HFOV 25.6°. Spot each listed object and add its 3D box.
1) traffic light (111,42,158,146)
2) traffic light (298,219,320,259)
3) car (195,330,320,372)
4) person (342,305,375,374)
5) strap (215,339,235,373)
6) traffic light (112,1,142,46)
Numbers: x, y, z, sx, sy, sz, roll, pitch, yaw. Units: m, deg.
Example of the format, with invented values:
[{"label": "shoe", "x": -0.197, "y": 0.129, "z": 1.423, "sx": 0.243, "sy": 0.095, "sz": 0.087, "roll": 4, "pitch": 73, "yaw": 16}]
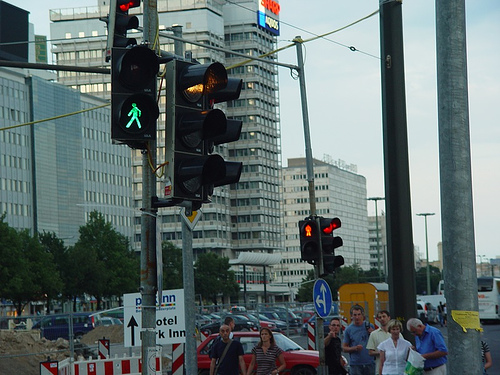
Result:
[{"label": "traffic light", "x": -2.820, "y": -2.297, "z": 26.932, "sx": 1.127, "sy": 2.302, "sz": 0.527, "roll": 0, "pitch": -10, "yaw": -9}, {"label": "traffic light", "x": 1.967, "y": 1.762, "z": 36.826, "sx": 0.754, "sy": 1.313, "sz": 0.393, "roll": -6, "pitch": -11, "yaw": 24}, {"label": "car", "x": 0.232, "y": 5.651, "z": 38.129, "sx": 3.471, "sy": 1.641, "sz": 2.087, "roll": -3, "pitch": -5, "yaw": 7}, {"label": "person", "x": 3.287, "y": 4.684, "z": 33.682, "sx": 0.805, "sy": 2.254, "sz": 0.730, "roll": -4, "pitch": -9, "yaw": 12}, {"label": "strap", "x": -0.769, "y": 5.088, "z": 33.013, "sx": 0.102, "sy": 1.020, "sz": 0.140, "roll": 22, "pitch": -12, "yaw": -7}, {"label": "traffic light", "x": -3.177, "y": -4.198, "z": 27.764, "sx": 0.478, "sy": 1.408, "sz": 0.431, "roll": 1, "pitch": -10, "yaw": -12}]
